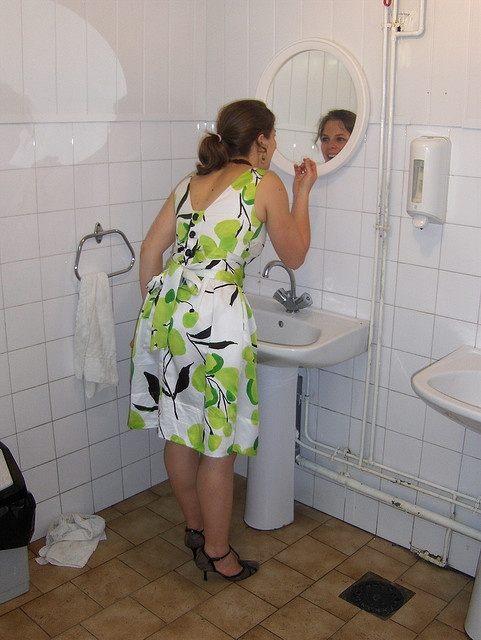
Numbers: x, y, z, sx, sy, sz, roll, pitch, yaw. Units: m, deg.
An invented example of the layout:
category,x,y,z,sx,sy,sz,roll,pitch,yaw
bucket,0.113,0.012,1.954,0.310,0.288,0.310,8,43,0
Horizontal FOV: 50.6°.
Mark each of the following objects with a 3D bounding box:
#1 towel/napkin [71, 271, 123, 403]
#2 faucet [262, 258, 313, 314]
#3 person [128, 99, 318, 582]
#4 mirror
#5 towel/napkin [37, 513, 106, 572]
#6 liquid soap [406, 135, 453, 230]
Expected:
category,x,y,z,sx,sy,sz,roll,pitch,yaw
towel/napkin,-0.517,0.045,1.815,0.145,0.416,0.085,-3,8,-21
faucet,0.153,-0.114,1.835,0.173,0.216,0.153,-18,21,-34
person,-0.100,0.109,1.587,0.566,1.488,0.365,4,8,25
mirror,0.228,-0.761,1.685,0.328,0.372,0.031,-7,-17,2
towel/napkin,-0.611,0.788,1.831,0.201,0.072,0.305,9,3,0
liquid soap,0.533,-0.399,1.456,0.097,0.261,0.153,8,11,44
